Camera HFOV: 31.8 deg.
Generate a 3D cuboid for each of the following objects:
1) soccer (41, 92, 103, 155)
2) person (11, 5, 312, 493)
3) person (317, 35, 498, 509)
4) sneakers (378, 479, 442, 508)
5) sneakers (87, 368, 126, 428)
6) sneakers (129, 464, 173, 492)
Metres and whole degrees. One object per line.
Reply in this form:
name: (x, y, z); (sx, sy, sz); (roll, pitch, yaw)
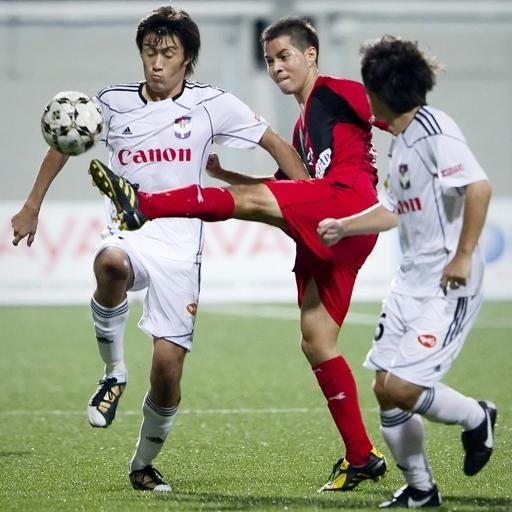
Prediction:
soccer: (-0.851, -0.619, 4.318); (0.273, 0.351, 0.287); (0, 1, -7)
person: (-0.511, -0.081, 4.532); (1.370, 2.391, 0.632); (-1, 3, 2)
person: (0.735, 0.047, 3.982); (0.648, 2.090, 0.401); (0, 3, 10)
sneakers: (0.694, 1.065, 4.018); (0.289, 0.137, 0.110); (2, -24, 0)
sneakers: (-0.762, 0.721, 4.600); (0.108, 0.158, 0.342); (13, 20, -2)
sneakers: (-0.508, 1.069, 4.354); (0.175, 0.104, 0.264); (-2, 4, -23)
